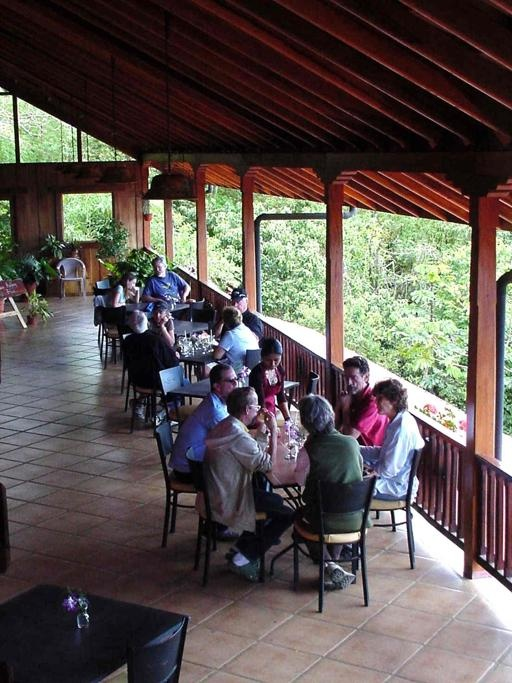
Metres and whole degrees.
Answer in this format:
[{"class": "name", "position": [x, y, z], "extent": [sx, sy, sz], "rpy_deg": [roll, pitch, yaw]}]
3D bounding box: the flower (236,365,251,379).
[{"class": "flower", "position": [-0.142, 0.354, 6.312], "extent": [0.125, 0.133, 0.130], "rpy_deg": [6, 47, -3]}]

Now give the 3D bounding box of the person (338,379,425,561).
[{"class": "person", "position": [0.982, 0.917, 4.702], "extent": [0.783, 1.198, 0.588], "rpy_deg": [5, 2, 21]}]

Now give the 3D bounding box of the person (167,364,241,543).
[{"class": "person", "position": [-0.345, 0.895, 4.782], "extent": [0.715, 1.346, 0.552], "rpy_deg": [5, 7, -9]}]

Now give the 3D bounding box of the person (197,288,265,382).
[{"class": "person", "position": [-0.242, -0.118, 8.167], "extent": [0.666, 1.168, 0.578], "rpy_deg": [-12, 22, -26]}]

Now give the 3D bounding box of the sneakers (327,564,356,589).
[{"class": "sneakers", "position": [0.610, 1.725, 4.215], "extent": [0.192, 0.174, 0.076], "rpy_deg": [23, -9, -4]}]

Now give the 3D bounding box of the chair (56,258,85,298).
[{"class": "chair", "position": [-6.022, -2.095, 18.812], "extent": [0.882, 1.310, 1.127], "rpy_deg": [-2, 7, -19]}]

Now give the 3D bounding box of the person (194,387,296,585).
[{"class": "person", "position": [-0.029, 1.051, 4.263], "extent": [0.578, 1.476, 0.708], "rpy_deg": [6, 9, 41]}]

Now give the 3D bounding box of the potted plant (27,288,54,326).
[{"class": "potted plant", "position": [-5.761, -0.875, 15.284], "extent": [0.589, 0.825, 1.118], "rpy_deg": [-2, 6, -19]}]

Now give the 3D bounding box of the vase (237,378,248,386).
[{"class": "vase", "position": [-0.143, 0.432, 6.025], "extent": [0.088, 0.091, 0.164], "rpy_deg": [-3, -3, 3]}]

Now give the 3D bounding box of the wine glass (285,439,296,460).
[{"class": "wine glass", "position": [0.284, 0.853, 4.456], "extent": [0.102, 0.117, 0.103], "rpy_deg": [2, -3, 13]}]

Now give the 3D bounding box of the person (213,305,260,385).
[{"class": "person", "position": [-0.409, 0.138, 7.149], "extent": [0.564, 1.007, 0.444], "rpy_deg": [6, 19, 6]}]

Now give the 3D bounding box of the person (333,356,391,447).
[{"class": "person", "position": [0.950, 0.570, 5.307], "extent": [0.429, 0.824, 0.326], "rpy_deg": [20, -37, -17]}]

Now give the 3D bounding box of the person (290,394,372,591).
[{"class": "person", "position": [0.501, 1.094, 3.976], "extent": [0.455, 1.444, 0.602], "rpy_deg": [2, 7, 10]}]

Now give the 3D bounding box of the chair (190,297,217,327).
[{"class": "chair", "position": [-0.969, -0.538, 10.631], "extent": [0.442, 0.654, 0.516], "rpy_deg": [0, 1, -2]}]

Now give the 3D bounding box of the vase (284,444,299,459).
[{"class": "vase", "position": [0.263, 0.858, 4.459], "extent": [0.089, 0.116, 0.103], "rpy_deg": [3, -4, -26]}]

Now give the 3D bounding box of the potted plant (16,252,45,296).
[{"class": "potted plant", "position": [-7.050, -2.107, 18.018], "extent": [0.742, 1.321, 1.718], "rpy_deg": [-1, 6, -13]}]

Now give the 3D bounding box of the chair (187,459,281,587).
[{"class": "chair", "position": [-0.100, 1.316, 4.754], "extent": [0.854, 1.335, 0.751], "rpy_deg": [-2, 6, -5]}]

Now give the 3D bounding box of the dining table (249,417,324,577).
[{"class": "dining table", "position": [0.216, 1.145, 4.176], "extent": [0.547, 0.735, 1.053], "rpy_deg": [0, 21, -6]}]

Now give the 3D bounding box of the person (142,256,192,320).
[{"class": "person", "position": [-1.767, -1.144, 11.268], "extent": [1.018, 1.036, 0.592], "rpy_deg": [-19, 29, -34]}]
